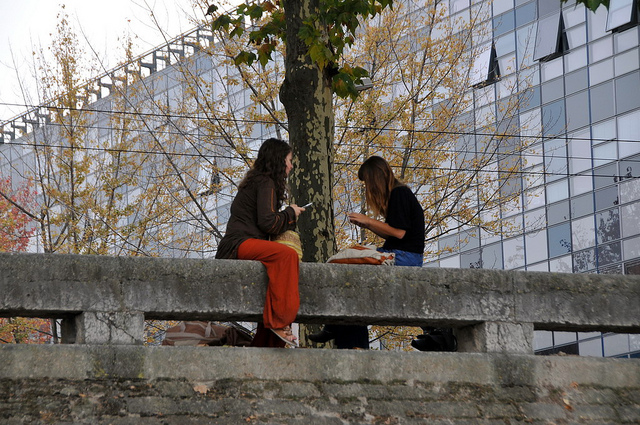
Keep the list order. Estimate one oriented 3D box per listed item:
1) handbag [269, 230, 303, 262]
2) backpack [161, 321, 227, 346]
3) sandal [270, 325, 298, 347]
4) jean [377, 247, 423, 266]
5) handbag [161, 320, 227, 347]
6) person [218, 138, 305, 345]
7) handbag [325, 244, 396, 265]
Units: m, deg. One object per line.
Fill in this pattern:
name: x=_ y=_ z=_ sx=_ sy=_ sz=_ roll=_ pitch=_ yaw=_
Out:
handbag: x=-0.645 y=0.655 z=20.753 sx=0.582 sy=0.547 sz=0.577 roll=8 pitch=-27 yaw=-11
backpack: x=-2.366 y=2.264 z=20.614 sx=0.721 sy=0.252 sz=0.592 roll=-10 pitch=2 yaw=-3
sandal: x=-0.617 y=2.201 z=19.947 sx=0.597 sy=0.161 sz=0.229 roll=42 pitch=3 yaw=-13
jean: x=1.569 y=0.814 z=20.871 sx=0.640 sy=0.190 sz=0.372 roll=9 pitch=5 yaw=14
handbag: x=-2.372 y=2.272 z=20.631 sx=0.775 sy=0.270 sz=0.594 roll=-5 pitch=-1 yaw=-10
person: x=-1.002 y=0.502 z=20.327 sx=1.287 sy=3.874 sz=0.525 roll=-1 pitch=-11 yaw=-1
handbag: x=0.810 y=0.794 z=20.616 sx=1.260 sy=0.403 sz=0.388 roll=1 pitch=-11 yaw=-11
